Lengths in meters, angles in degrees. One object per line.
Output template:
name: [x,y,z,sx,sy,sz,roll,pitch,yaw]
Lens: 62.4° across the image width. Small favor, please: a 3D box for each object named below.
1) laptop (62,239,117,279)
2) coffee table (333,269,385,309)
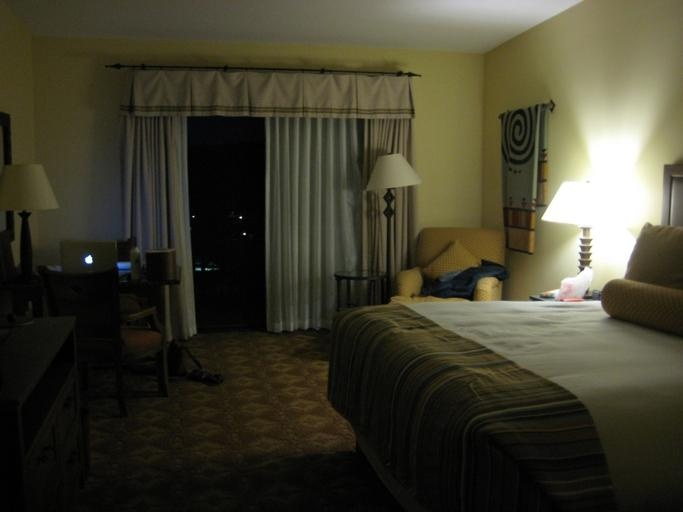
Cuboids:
laptop: [-1.830,-0.039,4.076,0.358,0.255,0.259,0,3,-4]
coffee table: [0.182,0.284,5.448,0.382,0.435,0.408,-1,7,-4]
